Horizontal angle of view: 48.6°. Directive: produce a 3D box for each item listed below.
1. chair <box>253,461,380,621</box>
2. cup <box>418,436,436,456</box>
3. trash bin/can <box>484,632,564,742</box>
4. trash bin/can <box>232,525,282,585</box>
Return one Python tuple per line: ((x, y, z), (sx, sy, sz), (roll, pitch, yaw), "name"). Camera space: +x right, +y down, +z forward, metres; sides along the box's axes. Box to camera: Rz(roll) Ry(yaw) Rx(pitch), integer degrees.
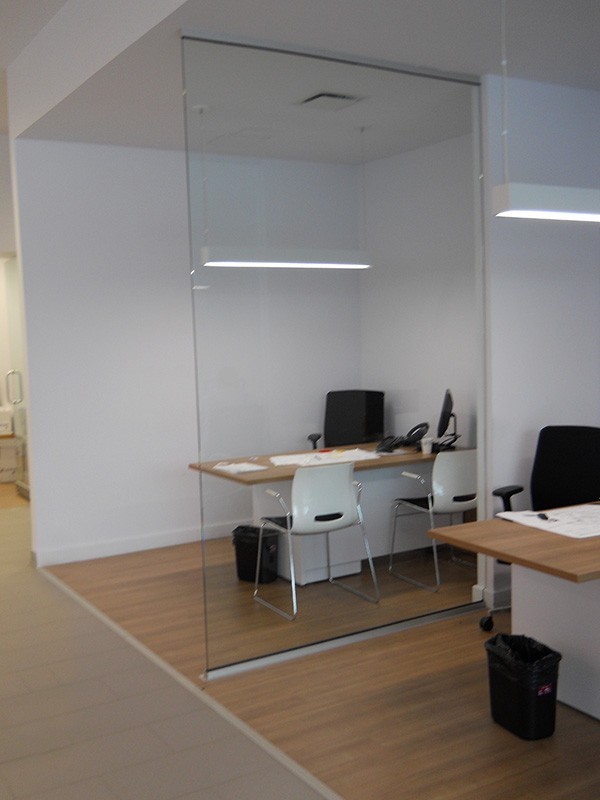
((0.120, 0.630, 3.244), (0.479, 0.623, 0.428), (-7, 2, -17), "chair")
((0.652, 0.237, 3.427), (0.095, 0.094, 0.092), (-1, 8, 0), "cup")
((0.757, 0.986, 2.249), (0.161, 0.247, 0.270), (-5, 6, -26), "trash bin/can")
((-0.205, 0.708, 2.997), (0.132, 0.249, 0.289), (-3, -1, 41), "trash bin/can")
